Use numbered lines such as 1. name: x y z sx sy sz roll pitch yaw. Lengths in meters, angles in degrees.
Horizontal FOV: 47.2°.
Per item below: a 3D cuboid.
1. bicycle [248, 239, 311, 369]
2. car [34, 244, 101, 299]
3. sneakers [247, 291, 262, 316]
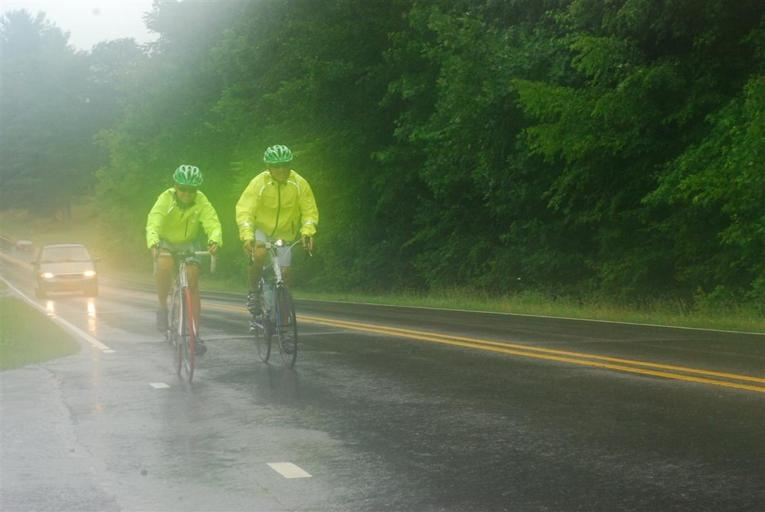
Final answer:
1. bicycle: -1.659 0.876 14.486 0.936 1.235 1.986 1 -2 -14
2. car: -10.992 0.469 30.462 1.535 1.292 2.787 0 -7 -21
3. sneakers: -2.076 0.775 14.371 0.281 0.378 0.144 -4 5 -40
